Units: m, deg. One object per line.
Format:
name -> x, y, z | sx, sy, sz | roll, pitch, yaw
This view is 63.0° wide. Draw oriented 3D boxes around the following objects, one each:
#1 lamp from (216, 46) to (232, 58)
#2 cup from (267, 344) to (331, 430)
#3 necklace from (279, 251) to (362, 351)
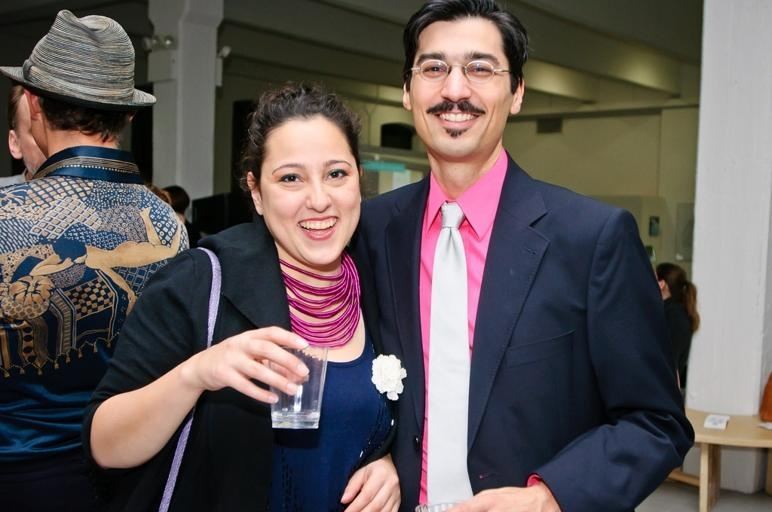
lamp -> -2.075, -2.638, 8.089 | 0.145, 0.164, 0.253 | -15, 10, -14
cup -> -0.305, 0.454, 2.169 | 0.225, 0.275, 0.236 | 1, -7, 0
necklace -> -0.228, 0.188, 2.411 | 0.304, 0.337, 0.093 | 6, -16, -41
